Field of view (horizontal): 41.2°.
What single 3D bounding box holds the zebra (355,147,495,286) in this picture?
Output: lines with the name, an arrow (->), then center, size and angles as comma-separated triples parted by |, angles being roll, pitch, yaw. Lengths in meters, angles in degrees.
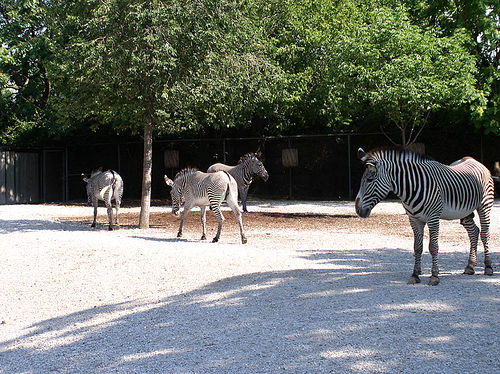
zebra -> 3.489, 0.496, 12.998 | 2.998, 2.586, 0.801 | -2, 2, -23

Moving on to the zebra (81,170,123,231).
zebra -> -4.427, 0.384, 20.780 | 0.847, 1.772, 1.644 | -2, 2, -32

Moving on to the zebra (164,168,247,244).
zebra -> -1.328, 0.469, 18.595 | 0.824, 2.161, 3.026 | 4, -5, -45
